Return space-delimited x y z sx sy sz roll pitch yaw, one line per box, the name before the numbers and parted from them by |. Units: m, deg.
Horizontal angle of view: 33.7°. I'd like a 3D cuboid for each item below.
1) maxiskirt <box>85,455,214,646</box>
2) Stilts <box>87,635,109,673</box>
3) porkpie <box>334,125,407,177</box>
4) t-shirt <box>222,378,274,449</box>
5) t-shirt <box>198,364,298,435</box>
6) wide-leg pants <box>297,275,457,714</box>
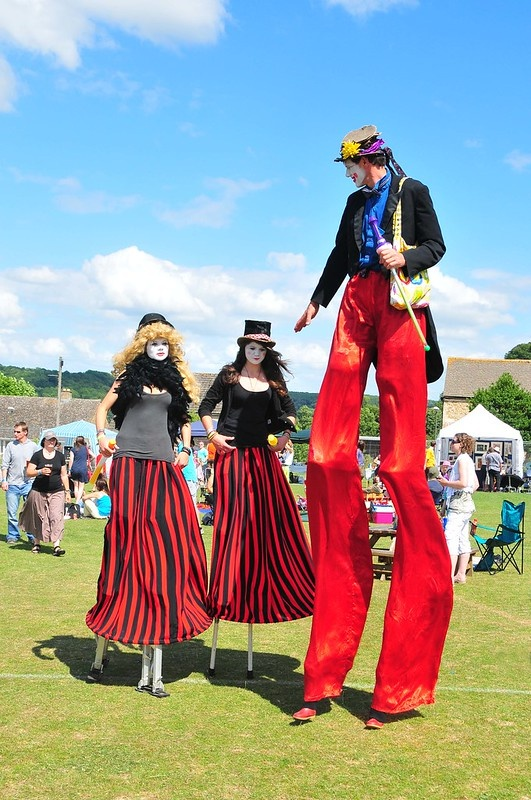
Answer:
maxiskirt | -0.603 0.794 4.730 0.655 0.950 0.432 4 -4 -9
Stilts | -0.917 1.396 4.837 0.081 0.244 0.362 4 -4 -9
porkpie | 0.522 -1.230 4.395 0.302 0.262 0.240 6 39 27
t-shirt | -0.115 0.090 5.158 0.392 0.438 0.266 3 -19 -5
t-shirt | -0.098 0.008 5.251 0.624 0.426 0.318 -2 17 -14
wide-leg pants | 0.554 0.421 4.234 0.717 2.070 0.317 3 -4 10
